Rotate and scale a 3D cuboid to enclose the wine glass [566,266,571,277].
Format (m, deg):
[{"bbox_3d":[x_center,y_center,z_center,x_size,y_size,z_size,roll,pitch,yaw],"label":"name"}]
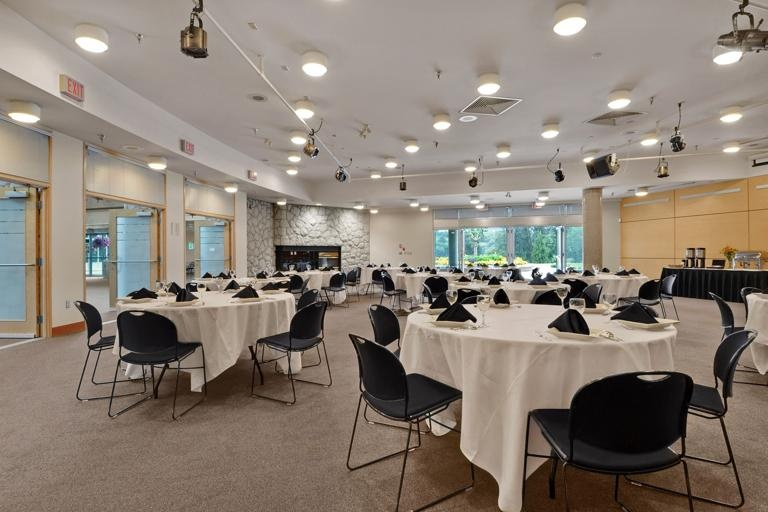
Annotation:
[{"bbox_3d":[4.189,0.345,11.002,0.091,0.250,0.211,7,-7,14],"label":"wine glass"}]

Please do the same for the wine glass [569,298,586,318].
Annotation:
[{"bbox_3d":[1.932,0.521,4.820,0.180,0.190,0.152,-2,-4,32],"label":"wine glass"}]

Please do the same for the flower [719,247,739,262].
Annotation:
[{"bbox_3d":[8.087,-0.054,11.333,0.382,0.404,0.384,0,1,-32],"label":"flower"}]

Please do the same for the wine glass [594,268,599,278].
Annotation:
[{"bbox_3d":[4.241,0.337,9.677,0.117,0.173,0.040,11,-9,-33],"label":"wine glass"}]
